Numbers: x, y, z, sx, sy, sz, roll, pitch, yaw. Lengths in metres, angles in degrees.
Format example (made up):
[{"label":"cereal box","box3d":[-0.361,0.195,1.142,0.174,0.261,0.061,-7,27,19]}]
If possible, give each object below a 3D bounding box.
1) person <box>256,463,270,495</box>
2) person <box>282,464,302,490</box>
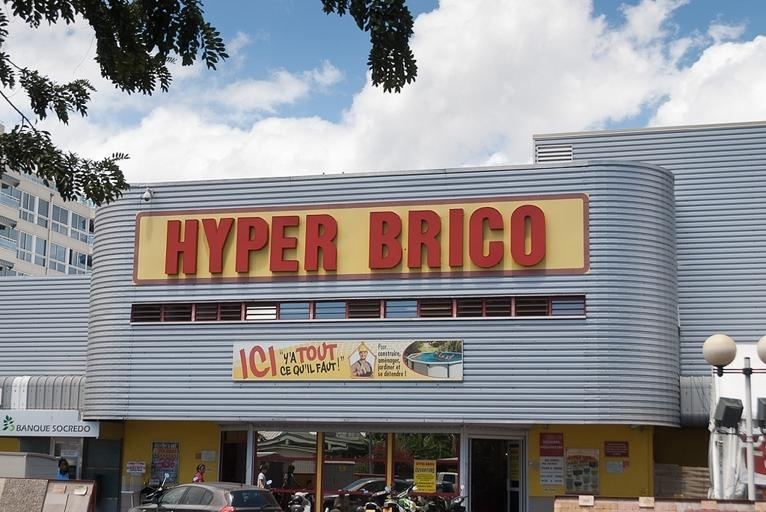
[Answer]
[{"label":"person","box3d":[-3.793,7.102,37.155,0.656,1.019,0.913,-1,-7,-12]},{"label":"person","box3d":[-3.042,7.250,38.379,0.472,0.817,0.165,-1,-16,-1]}]
